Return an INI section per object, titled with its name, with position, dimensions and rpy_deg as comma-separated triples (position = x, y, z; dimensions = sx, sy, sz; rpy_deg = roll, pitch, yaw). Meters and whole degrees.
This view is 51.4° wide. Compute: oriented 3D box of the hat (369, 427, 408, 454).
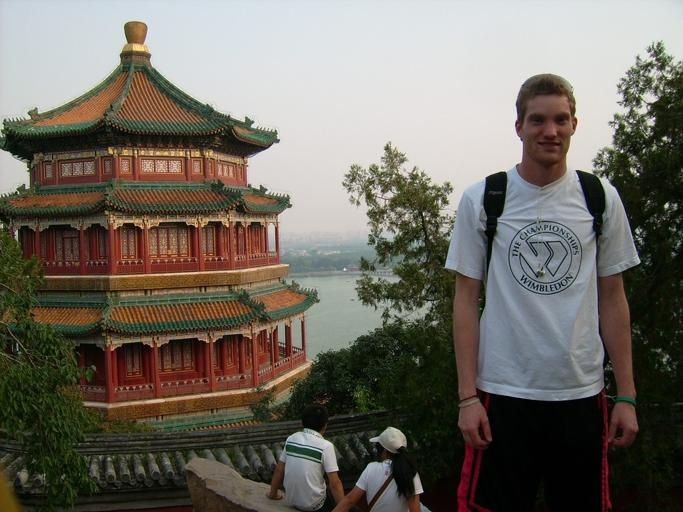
[hat]
position = 0.498, 1.886, 7.356
dimensions = 0.201, 0.164, 0.309
rpy_deg = -2, 11, -44

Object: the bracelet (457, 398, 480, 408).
[bracelet]
position = 0.960, 1.097, 5.335
dimensions = 0.154, 0.088, 0.107
rpy_deg = -2, -3, 13
